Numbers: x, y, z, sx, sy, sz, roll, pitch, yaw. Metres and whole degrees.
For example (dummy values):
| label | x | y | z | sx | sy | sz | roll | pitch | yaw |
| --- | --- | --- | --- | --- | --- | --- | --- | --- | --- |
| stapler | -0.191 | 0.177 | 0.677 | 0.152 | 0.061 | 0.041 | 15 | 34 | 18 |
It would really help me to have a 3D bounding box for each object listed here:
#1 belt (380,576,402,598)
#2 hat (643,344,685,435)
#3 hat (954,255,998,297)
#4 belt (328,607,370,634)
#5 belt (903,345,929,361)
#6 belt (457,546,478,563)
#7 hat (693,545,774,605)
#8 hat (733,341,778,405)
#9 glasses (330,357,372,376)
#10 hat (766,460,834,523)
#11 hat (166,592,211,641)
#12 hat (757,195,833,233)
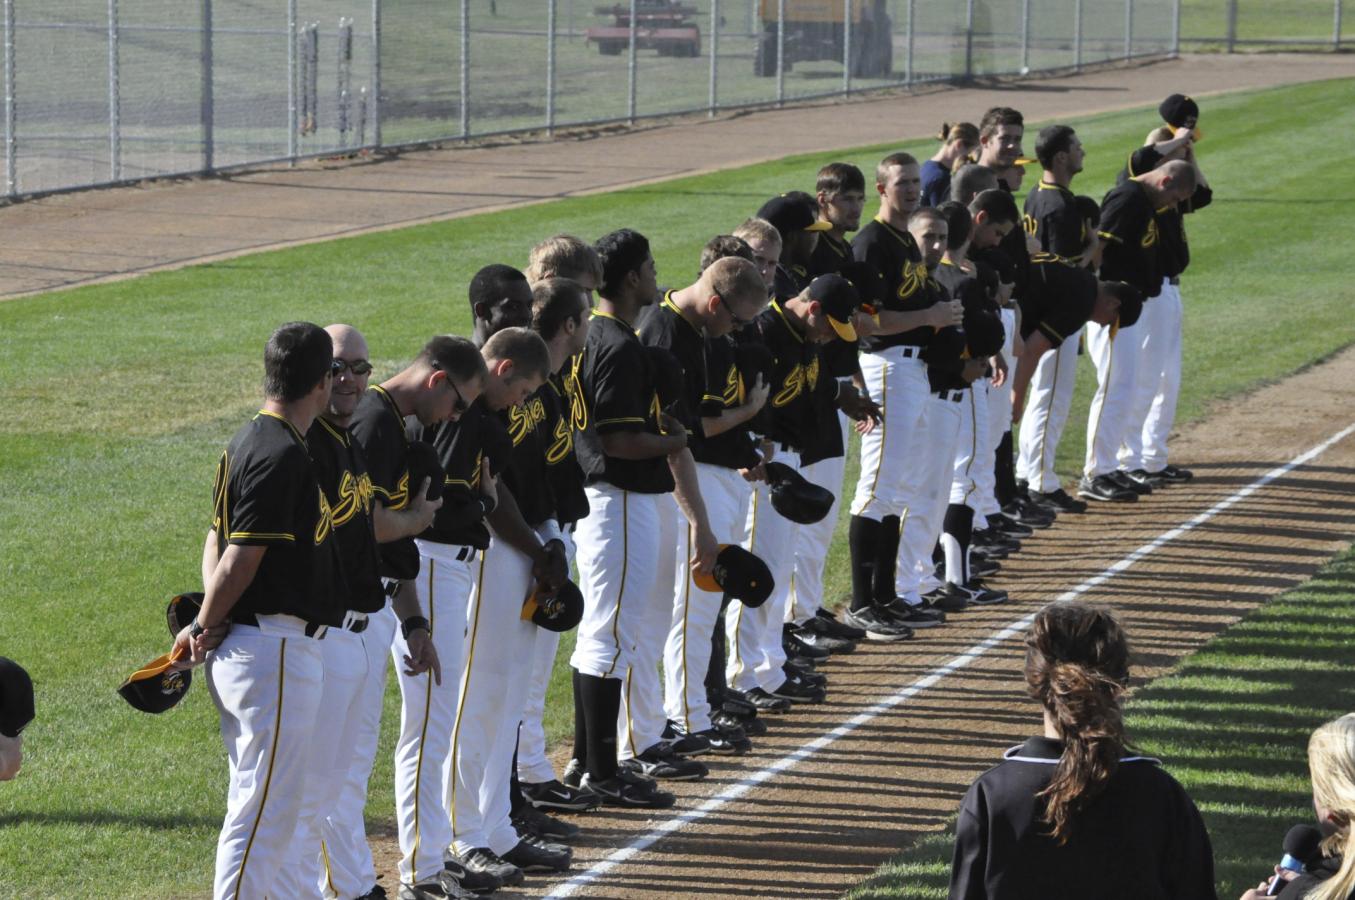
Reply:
| label | x | y | z | sx | sy | sz | roll | pitch | yaw |
| --- | --- | --- | --- | --- | --- | --- | --- | --- | --- |
| belt | -2.388 | 1.103 | 21.767 | 0.141 | 0.156 | 0.163 | 19 | 32 | -15 |
| hat | -0.131 | -0.513 | 22.727 | 0.291 | 0.739 | 0.253 | -2 | 8 | -4 |
| hat | 2.839 | -1.652 | 25.132 | 0.548 | 0.402 | 0.264 | 1 | 5 | -10 |
| belt | -2.681 | 1.364 | 21.309 | 0.209 | 0.238 | 0.096 | 12 | 11 | -28 |
| belt | 2.249 | -0.920 | 24.709 | 0.138 | 0.141 | 0.151 | -2 | 1 | -6 |
| belt | -1.775 | 0.856 | 21.953 | 0.183 | 0.123 | 0.065 | -8 | 10 | -44 |
| hat | 0.454 | 1.086 | 22.993 | 0.728 | 0.553 | 0.306 | 0 | 8 | 9 |
| hat | 0.677 | -0.740 | 23.446 | 0.340 | 0.522 | 0.517 | -1 | 7 | 2 |
| glasses | -2.700 | -0.684 | 21.490 | 0.365 | 0.145 | 0.089 | -5 | 9 | -34 |
| hat | 1.028 | 0.372 | 23.347 | 0.673 | 0.421 | 0.255 | 34 | -18 | 5 |
| hat | -4.027 | 1.309 | 21.284 | 0.286 | 0.379 | 0.433 | -3 | 7 | -11 |
| hat | 1.058 | -2.182 | 24.160 | 0.575 | 0.232 | 0.340 | -2 | 24 | -5 |
